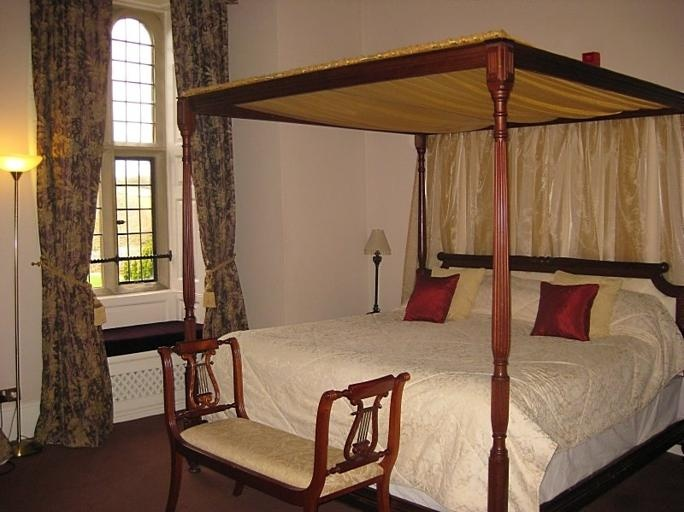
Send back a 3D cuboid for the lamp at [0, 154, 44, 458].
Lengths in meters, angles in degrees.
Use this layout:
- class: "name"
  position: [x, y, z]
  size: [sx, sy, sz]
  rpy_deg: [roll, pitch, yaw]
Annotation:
- class: "lamp"
  position: [-2.740, 0.388, 4.874]
  size: [0.337, 2.490, 0.603]
  rpy_deg: [-3, 7, -29]
